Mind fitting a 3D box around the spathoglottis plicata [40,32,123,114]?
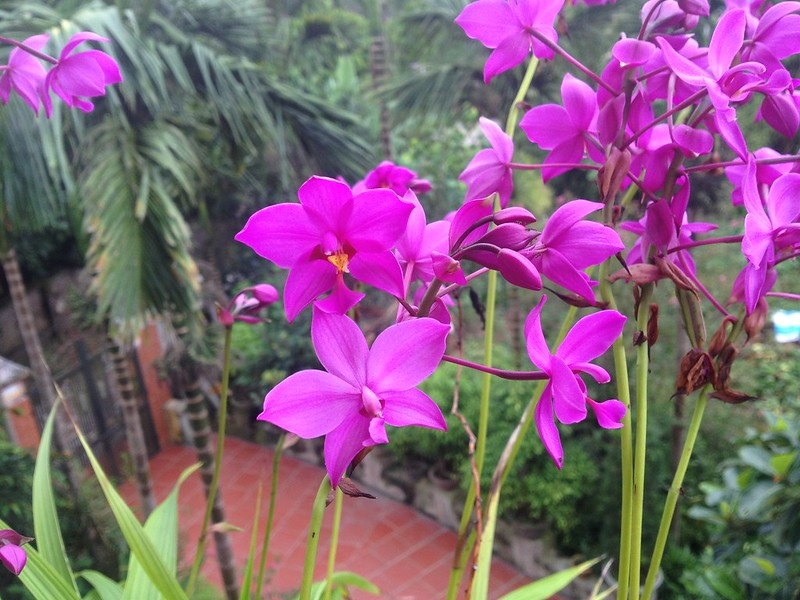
[{"bbox_3d":[-0.638,-0.442,1.341,0.100,0.037,0.112,15,41,-38],"label":"spathoglottis plicata"}]
